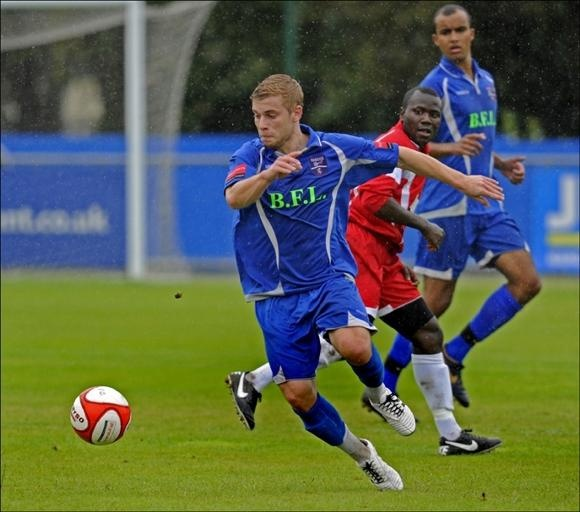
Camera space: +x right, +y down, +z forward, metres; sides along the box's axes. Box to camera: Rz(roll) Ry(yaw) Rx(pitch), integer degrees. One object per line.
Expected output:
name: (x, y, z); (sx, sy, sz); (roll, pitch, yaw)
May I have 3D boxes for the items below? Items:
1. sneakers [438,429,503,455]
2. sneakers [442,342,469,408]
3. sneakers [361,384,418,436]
sneakers: (1.275, 1.340, 7.620); (0.485, 0.211, 0.172); (-3, -3, -3)
sneakers: (1.320, 0.947, 8.406); (0.216, 0.495, 0.151); (-20, 6, 10)
sneakers: (0.729, 1.067, 7.171); (0.505, 0.184, 0.264); (43, 5, 18)
